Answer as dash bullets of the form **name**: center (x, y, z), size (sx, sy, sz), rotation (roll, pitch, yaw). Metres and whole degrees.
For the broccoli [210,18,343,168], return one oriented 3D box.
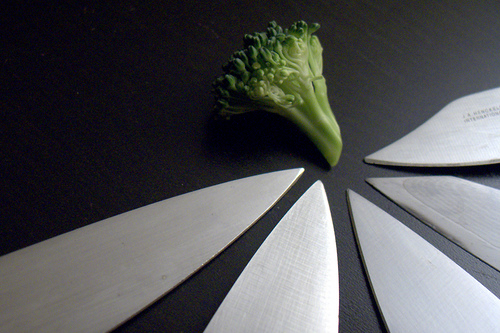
- **broccoli**: center (0.079, -0.264, 1.393), size (0.448, 0.551, 0.273), rotation (29, -67, -25)
